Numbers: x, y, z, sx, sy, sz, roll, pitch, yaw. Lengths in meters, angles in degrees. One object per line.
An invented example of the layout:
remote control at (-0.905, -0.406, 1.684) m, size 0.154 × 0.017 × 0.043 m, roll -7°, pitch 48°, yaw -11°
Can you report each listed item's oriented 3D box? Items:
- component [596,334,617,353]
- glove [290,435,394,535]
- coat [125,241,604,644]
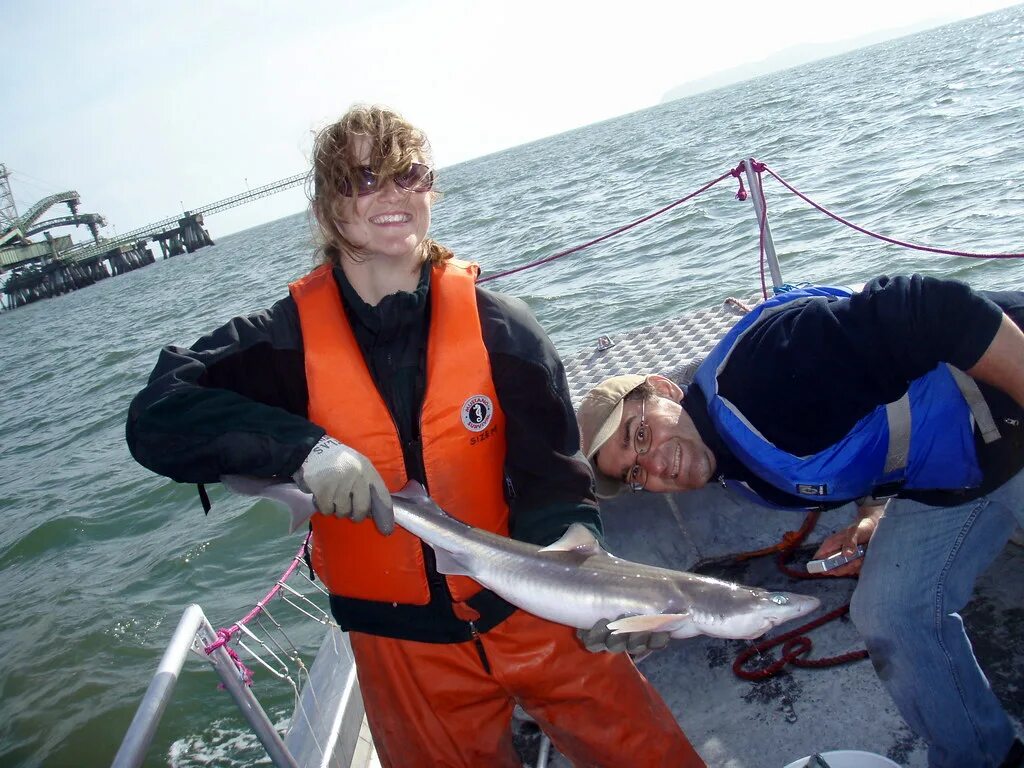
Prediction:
component at (0.905, -0.365, 7.511) m, size 0.167 × 0.054 × 0.146 m, roll -6°, pitch 59°, yaw 17°
glove at (-0.735, 0.448, 3.676) m, size 0.337 × 0.465 × 0.139 m, roll -52°, pitch 1°, yaw 26°
coat at (-0.660, 0.351, 4.066) m, size 2.224 × 1.604 × 1.234 m, roll -9°, pitch 12°, yaw -22°
